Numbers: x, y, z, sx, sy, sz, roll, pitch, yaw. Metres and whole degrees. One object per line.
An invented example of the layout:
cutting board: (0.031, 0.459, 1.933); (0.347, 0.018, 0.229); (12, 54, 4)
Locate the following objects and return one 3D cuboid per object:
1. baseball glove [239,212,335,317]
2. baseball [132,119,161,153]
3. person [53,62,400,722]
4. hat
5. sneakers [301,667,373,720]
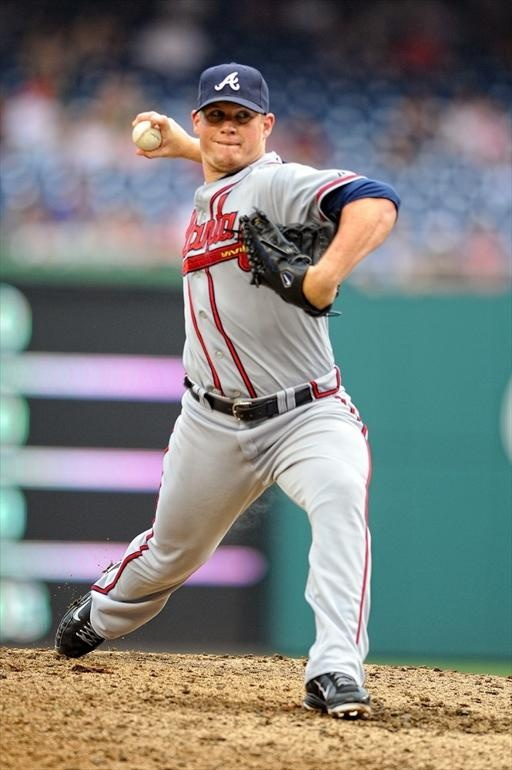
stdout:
baseball glove: (0.084, -0.321, 2.687); (0.257, 0.236, 0.285); (1, 39, -1)
baseball: (-0.417, -0.911, 3.603); (0.072, 0.101, 0.111); (-30, 9, -34)
person: (-0.072, 0.122, 3.005); (0.906, 1.755, 1.526); (5, 39, 4)
hat: (-0.062, -0.934, 3.060); (0.161, 0.108, 0.200); (3, 7, 8)
sneakers: (0.220, 0.823, 2.583); (0.096, 0.106, 0.228); (11, -13, -31)
